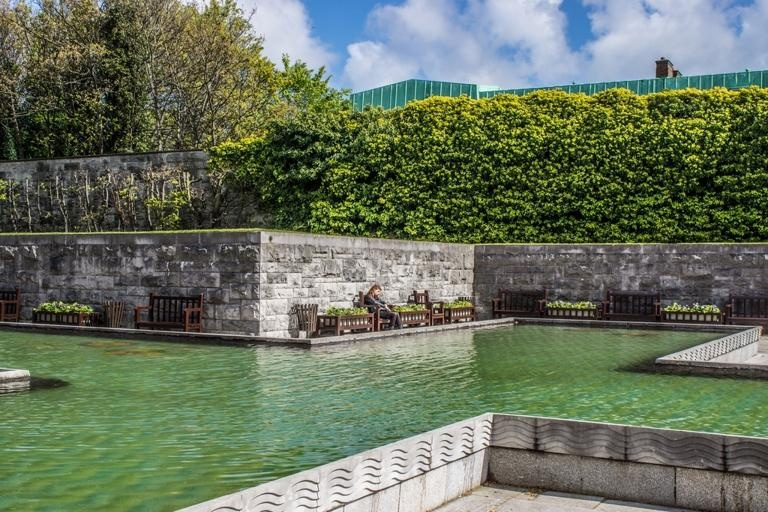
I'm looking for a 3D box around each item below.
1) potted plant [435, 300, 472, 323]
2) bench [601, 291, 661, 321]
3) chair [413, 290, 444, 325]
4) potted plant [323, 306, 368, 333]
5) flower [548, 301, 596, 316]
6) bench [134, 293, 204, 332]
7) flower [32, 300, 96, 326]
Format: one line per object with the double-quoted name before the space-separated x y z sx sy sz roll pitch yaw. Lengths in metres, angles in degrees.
"potted plant" 2.274 1.790 21.205 0.668 0.375 1.235 3 4 42
"bench" 8.140 1.673 22.045 1.569 0.884 1.035 -1 -5 24
"chair" 1.394 1.594 20.420 0.713 0.954 0.734 -1 -3 40
"potted plant" -0.991 1.671 17.203 0.761 0.654 1.445 -4 -3 37
"flower" 6.323 1.818 22.541 1.569 0.353 0.903 -3 -2 12
"bench" -5.490 1.519 17.033 1.732 0.985 0.629 0 0 26
"flower" -8.490 1.563 18.093 1.977 0.648 0.940 -4 -3 36
